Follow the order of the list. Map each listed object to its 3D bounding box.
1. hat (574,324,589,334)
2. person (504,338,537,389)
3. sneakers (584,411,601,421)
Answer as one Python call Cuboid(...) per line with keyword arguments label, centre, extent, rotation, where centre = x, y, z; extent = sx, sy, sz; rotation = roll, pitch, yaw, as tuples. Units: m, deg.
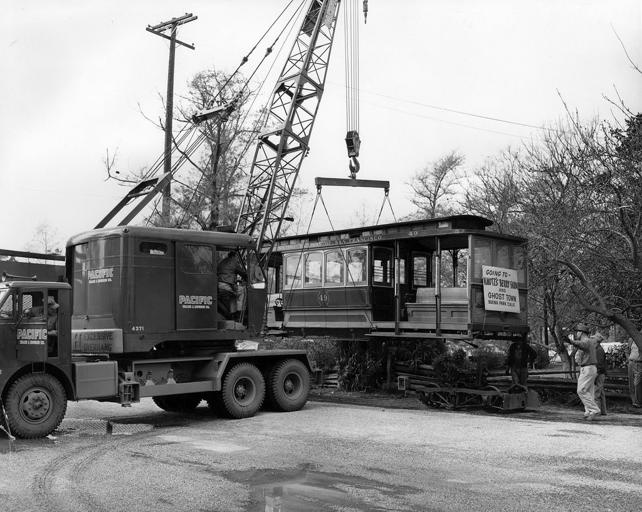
Cuboid(label="hat", centre=(6.890, 1.913, 19.663), extent=(0.460, 0.178, 0.444), rotation=(13, -9, -44))
Cuboid(label="person", centre=(5.486, 2.899, 20.409), extent=(0.771, 1.258, 2.213), rotation=(1, -1, 15))
Cuboid(label="sneakers", centre=(6.337, 3.691, 17.310), extent=(0.503, 0.263, 0.196), rotation=(2, -17, -35))
